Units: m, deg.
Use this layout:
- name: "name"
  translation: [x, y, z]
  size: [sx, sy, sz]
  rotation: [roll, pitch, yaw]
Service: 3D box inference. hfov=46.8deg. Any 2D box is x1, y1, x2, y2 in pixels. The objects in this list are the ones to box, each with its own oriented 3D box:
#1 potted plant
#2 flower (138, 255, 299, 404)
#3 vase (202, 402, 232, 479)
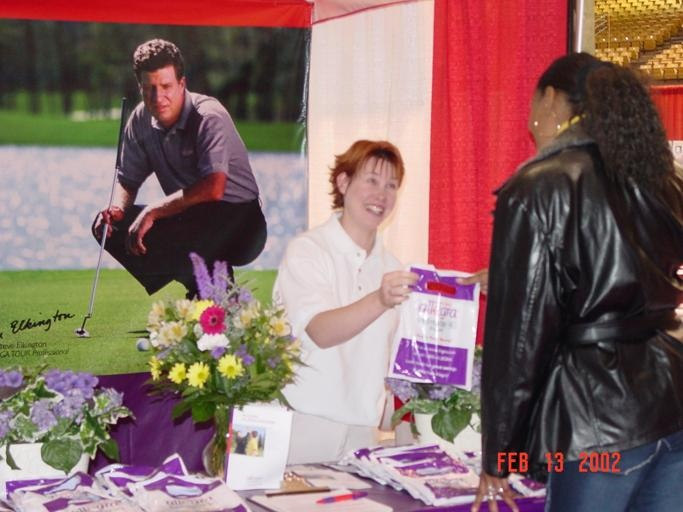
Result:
- name: "potted plant"
  translation: [0.329, 0.506, 2.636]
  size: [0.233, 0.170, 0.242]
  rotation: [0, 9, -31]
- name: "flower"
  translation: [-0.412, 0.270, 2.566]
  size: [0.404, 0.546, 0.465]
  rotation: [7, -31, -25]
- name: "vase"
  translation: [-0.379, 0.551, 2.368]
  size: [0.083, 0.217, 0.051]
  rotation: [2, 7, 3]
